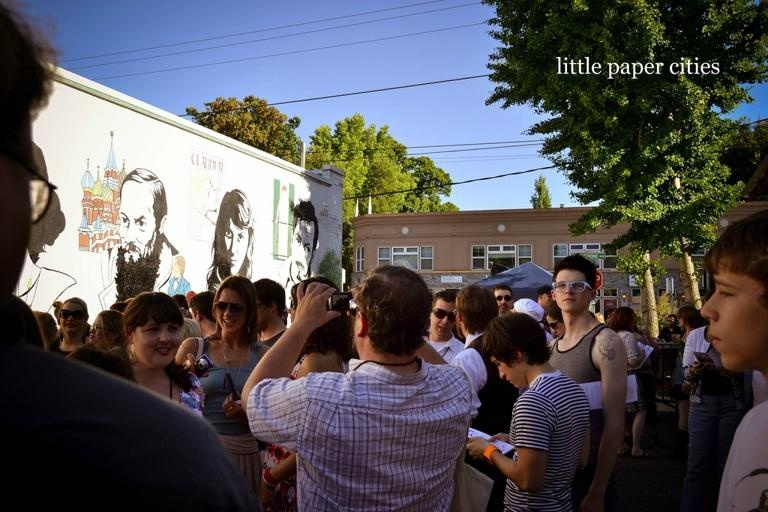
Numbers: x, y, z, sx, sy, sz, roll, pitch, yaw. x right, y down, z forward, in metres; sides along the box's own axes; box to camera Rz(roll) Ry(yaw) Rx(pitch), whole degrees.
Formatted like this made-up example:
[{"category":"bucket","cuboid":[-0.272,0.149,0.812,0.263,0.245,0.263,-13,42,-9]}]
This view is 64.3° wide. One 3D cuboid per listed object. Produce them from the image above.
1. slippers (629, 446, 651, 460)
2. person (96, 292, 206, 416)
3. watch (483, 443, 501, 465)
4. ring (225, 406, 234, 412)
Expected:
[{"category":"slippers","cuboid":[3.755,2.841,9.024,0.279,0.217,0.139,-2,-2,-5]},{"category":"person","cuboid":[-1.454,0.575,3.883,0.789,0.873,0.426,5,-29,-38]},{"category":"watch","cuboid":[0.654,1.186,3.758,0.099,0.078,0.057,32,-31,26]},{"category":"ring","cuboid":[-1.094,1.056,4.315,0.048,0.039,0.015,-23,1,-23]}]
